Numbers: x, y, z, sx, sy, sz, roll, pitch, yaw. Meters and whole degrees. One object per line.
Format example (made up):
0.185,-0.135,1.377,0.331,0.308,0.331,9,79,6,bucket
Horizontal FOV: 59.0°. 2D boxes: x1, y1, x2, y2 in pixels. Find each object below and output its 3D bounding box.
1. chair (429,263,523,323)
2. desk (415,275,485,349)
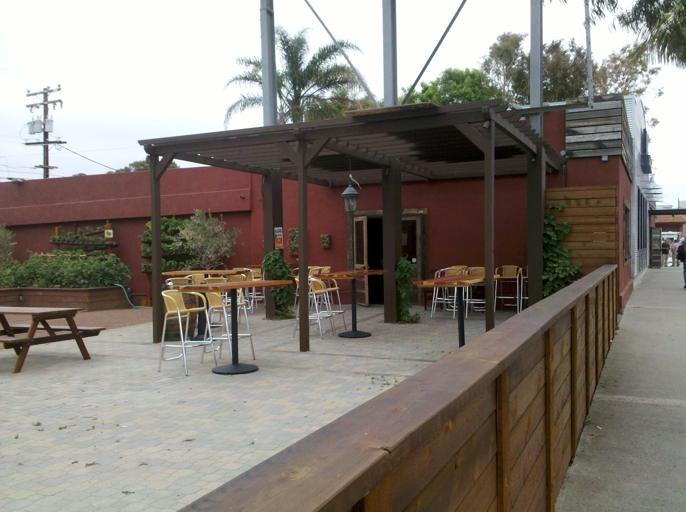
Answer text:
2.935,0.699,11.855,1.388,0.856,1.106,-1,-3,20,chair
1.719,0.716,9.186,0.812,0.939,2.720,-3,4,13,desk
